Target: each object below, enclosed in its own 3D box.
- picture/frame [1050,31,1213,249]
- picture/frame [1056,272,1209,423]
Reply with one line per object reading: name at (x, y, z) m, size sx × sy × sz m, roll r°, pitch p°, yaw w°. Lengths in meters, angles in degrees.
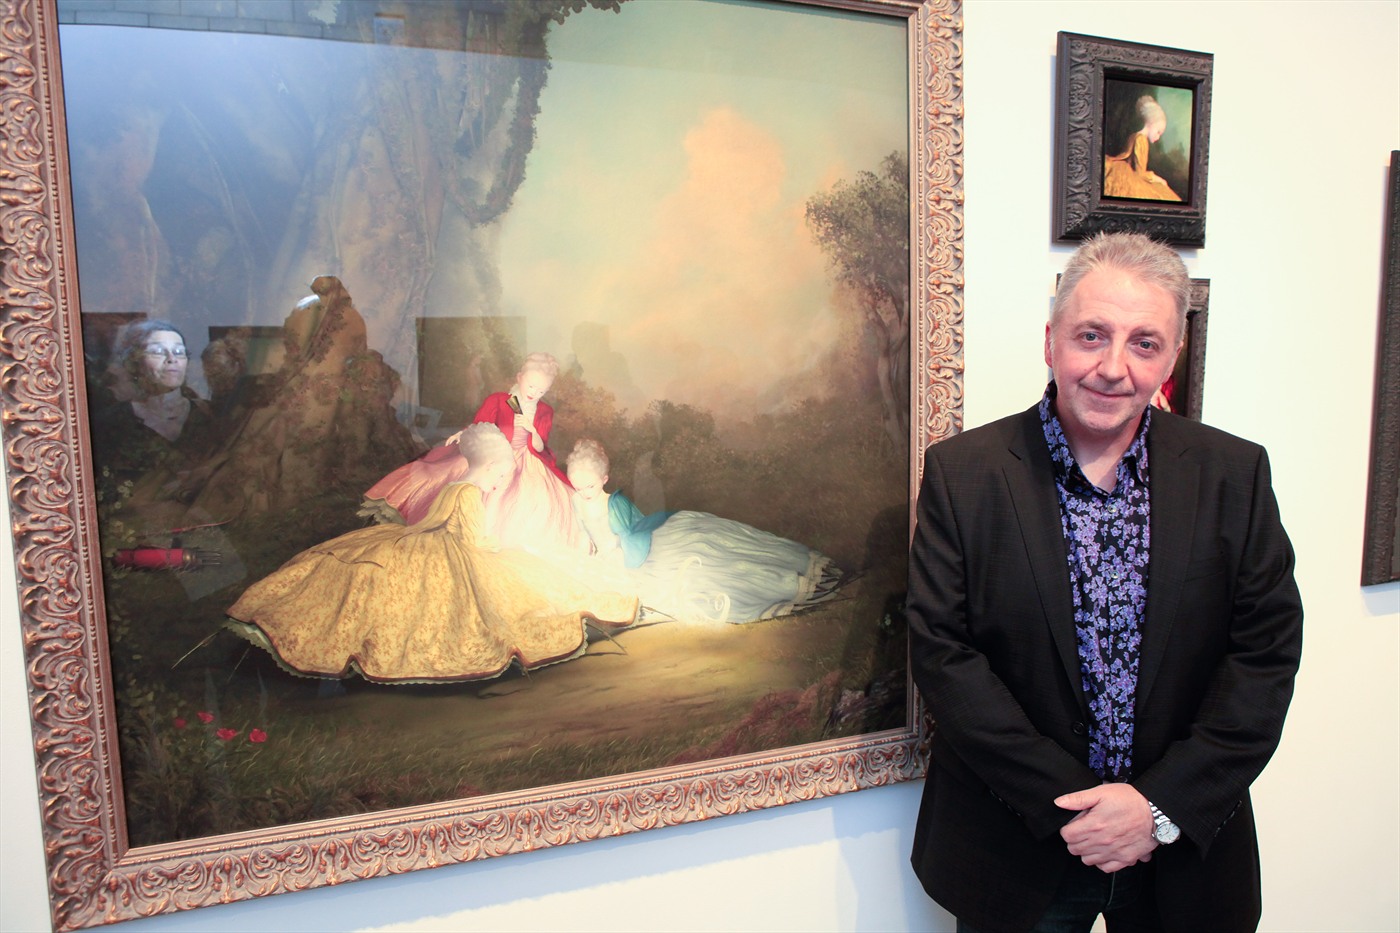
picture/frame at (1.274, -0.983, 3.334) m, size 0.737 × 0.739 × 0.062 m, roll -2°, pitch 8°, yaw -20°
picture/frame at (1.157, -0.331, 3.016) m, size 0.483 × 0.579 × 0.040 m, roll 0°, pitch 3°, yaw -5°
